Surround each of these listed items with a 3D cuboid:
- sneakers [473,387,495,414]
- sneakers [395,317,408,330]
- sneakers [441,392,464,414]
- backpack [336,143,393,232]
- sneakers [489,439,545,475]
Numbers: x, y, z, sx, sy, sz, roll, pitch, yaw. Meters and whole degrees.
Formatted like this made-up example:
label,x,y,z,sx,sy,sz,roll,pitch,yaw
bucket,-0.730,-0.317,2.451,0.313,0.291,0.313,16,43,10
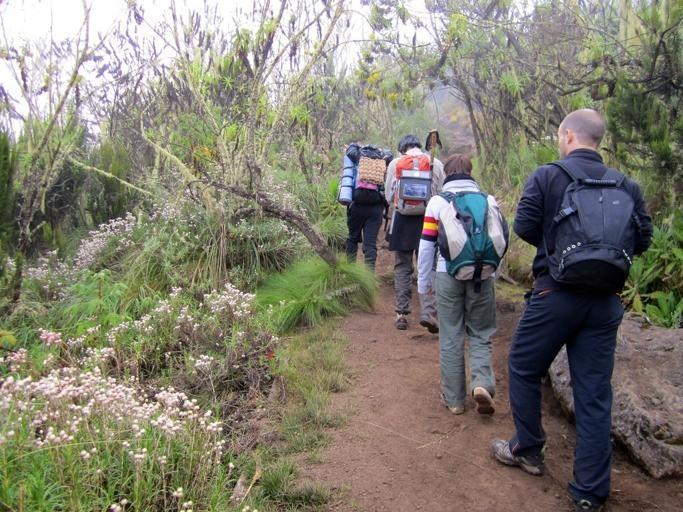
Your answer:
label,x,y,z,sx,sy,sz,roll,pitch,yaw
sneakers,1.376,1.436,4.770,0.129,0.163,0.388,-6,-43,22
sneakers,0.832,0.933,6.904,0.169,0.189,0.153,0,0,8
sneakers,1.133,1.502,5.074,0.102,0.140,0.304,1,18,-5
backpack,0.285,-1.182,7.955,0.808,1.218,0.469,3,9,0
sneakers,1.528,1.750,4.399,0.461,0.299,0.203,16,21,40
